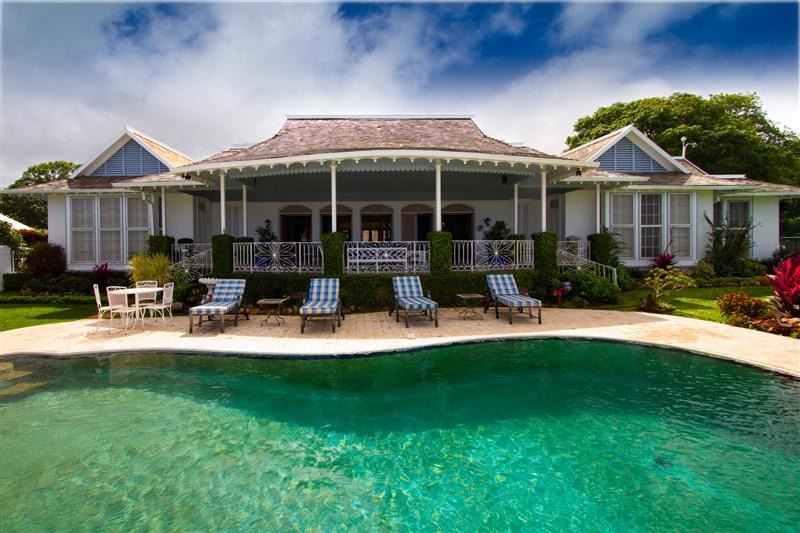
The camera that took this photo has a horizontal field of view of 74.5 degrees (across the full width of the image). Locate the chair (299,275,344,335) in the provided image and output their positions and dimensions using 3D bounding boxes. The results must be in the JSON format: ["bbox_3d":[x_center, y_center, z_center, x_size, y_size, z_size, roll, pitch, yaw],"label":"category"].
[{"bbox_3d":[-2.874,1.365,19.279,1.495,1.929,2.101,-2,-2,-6],"label":"chair"}]

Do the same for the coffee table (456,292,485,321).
[{"bbox_3d":[2.839,1.569,20.829,1.007,0.709,1.626,1,0,-1],"label":"coffee table"}]

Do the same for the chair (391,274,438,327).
[{"bbox_3d":[0.526,1.233,19.777,1.561,1.874,2.390,-2,-2,-2],"label":"chair"}]

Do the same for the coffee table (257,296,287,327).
[{"bbox_3d":[-4.955,1.759,20.437,1.343,0.959,1.174,-1,-1,-6],"label":"coffee table"}]
